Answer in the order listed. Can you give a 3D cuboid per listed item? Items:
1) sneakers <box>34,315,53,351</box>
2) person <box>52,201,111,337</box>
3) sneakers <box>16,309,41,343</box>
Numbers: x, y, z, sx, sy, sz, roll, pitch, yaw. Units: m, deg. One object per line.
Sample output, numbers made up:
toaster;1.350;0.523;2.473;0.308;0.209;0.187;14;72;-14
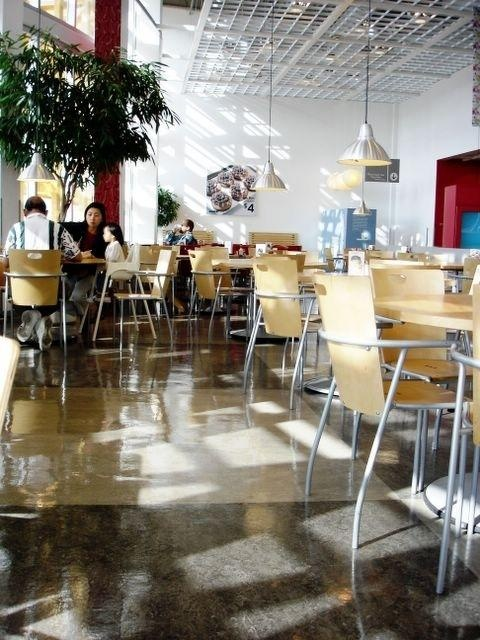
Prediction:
sneakers;-1.867;0.137;5.076;0.200;0.417;0.155;0;-4;44
person;-1.944;-0.724;6.446;0.818;1.317;0.876;14;16;7
sneakers;-2.099;0.070;5.195;0.220;0.355;0.120;8;1;36
